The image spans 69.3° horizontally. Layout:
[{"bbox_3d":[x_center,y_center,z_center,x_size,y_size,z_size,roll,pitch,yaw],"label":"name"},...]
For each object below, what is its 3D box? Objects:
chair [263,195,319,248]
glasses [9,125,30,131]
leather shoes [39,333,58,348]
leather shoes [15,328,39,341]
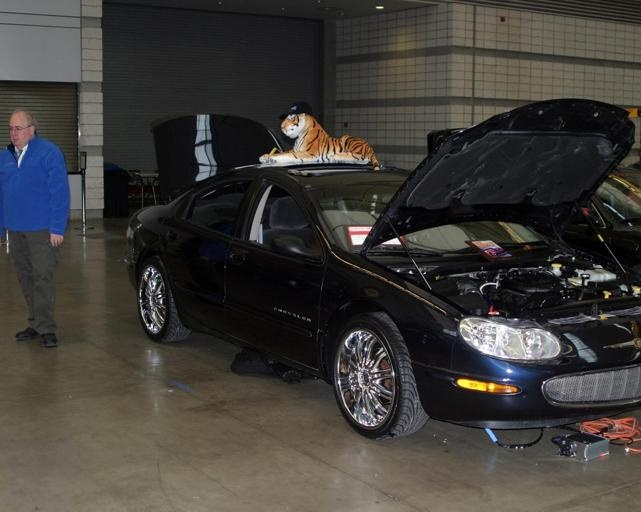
[{"bbox_3d":[-0.279,-0.278,3.770,0.546,0.429,0.475,-1,5,-28],"label":"chair"},{"bbox_3d":[-2.973,-1.249,4.563,0.182,0.048,0.062,0,1,9],"label":"glasses"},{"bbox_3d":[-2.728,0.836,4.659,0.176,0.131,0.136,0,1,-10],"label":"leather shoes"},{"bbox_3d":[-3.086,0.827,4.897,0.223,0.084,0.123,2,-1,-30],"label":"leather shoes"}]
